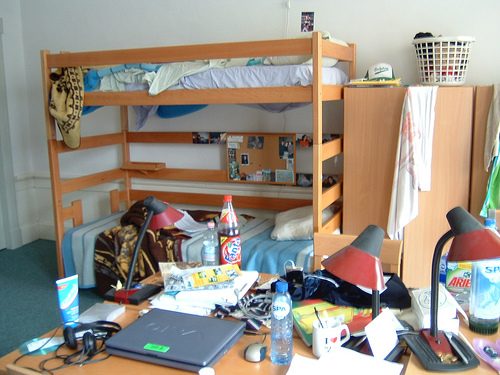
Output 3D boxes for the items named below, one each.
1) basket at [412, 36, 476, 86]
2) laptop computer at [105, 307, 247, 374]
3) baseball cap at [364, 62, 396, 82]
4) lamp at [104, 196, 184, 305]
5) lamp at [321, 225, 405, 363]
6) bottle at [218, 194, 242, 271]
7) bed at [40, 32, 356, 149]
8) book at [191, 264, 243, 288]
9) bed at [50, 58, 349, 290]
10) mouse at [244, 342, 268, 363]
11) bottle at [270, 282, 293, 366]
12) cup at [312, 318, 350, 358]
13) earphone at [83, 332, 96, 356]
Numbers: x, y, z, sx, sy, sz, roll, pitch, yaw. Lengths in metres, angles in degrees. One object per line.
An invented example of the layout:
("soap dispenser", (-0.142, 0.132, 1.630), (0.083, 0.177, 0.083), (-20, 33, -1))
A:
("basket", (1.318, -0.839, 2.716), (0.355, 0.276, 0.374), (0, 13, 9))
("laptop computer", (-0.248, 0.510, 1.383), (0.384, 0.067, 0.279), (6, 13, 25))
("baseball cap", (0.894, -0.793, 2.792), (0.185, 0.133, 0.306), (4, 12, 16))
("lamp", (-0.439, 0.247, 1.686), (0.325, 0.426, 0.211), (0, 12, -1))
("lamp", (0.377, 0.339, 1.296), (0.294, 0.420, 0.210), (-12, 15, -32))
("bottle", (-0.094, 0.206, 1.899), (0.103, 0.330, 0.252), (0, 12, -3))
("bed", (-0.425, -0.645, 2.993), (2.164, 0.768, 0.722), (5, 13, 21))
("book", (-0.138, 0.356, 1.654), (0.156, 0.067, 0.156), (-7, 7, -9))
("bed", (-0.326, -0.114, 3.458), (2.379, 1.878, 1.333), (0, 8, 14))
("mouse", (0.023, 0.528, 1.317), (0.067, 0.037, 0.085), (10, 15, 39))
("bottle", (0.108, 0.413, 1.321), (0.073, 0.259, 0.160), (1, 12, 6))
("cup", (0.239, 0.463, 1.285), (0.144, 0.129, 0.090), (0, 4, -1))
("earphone", (-0.533, 0.521, 1.346), (0.045, 0.020, 0.057), (18, 43, -25))
